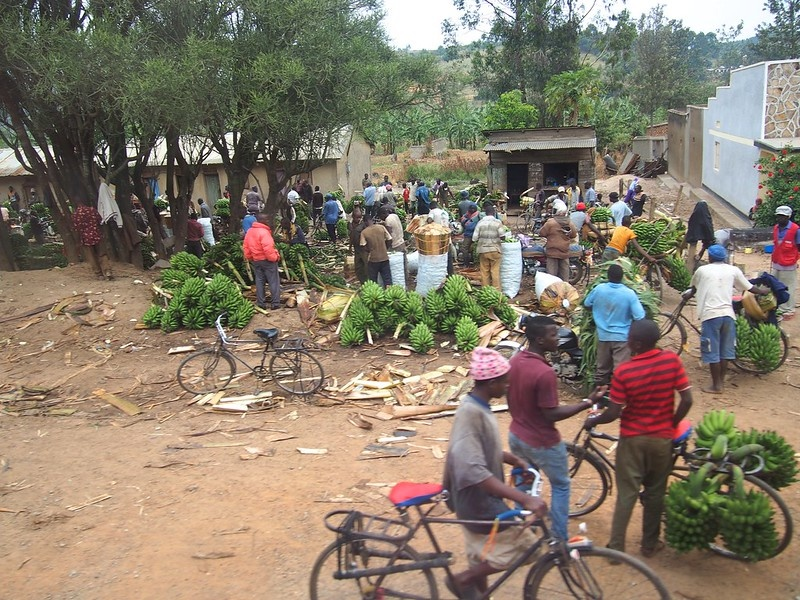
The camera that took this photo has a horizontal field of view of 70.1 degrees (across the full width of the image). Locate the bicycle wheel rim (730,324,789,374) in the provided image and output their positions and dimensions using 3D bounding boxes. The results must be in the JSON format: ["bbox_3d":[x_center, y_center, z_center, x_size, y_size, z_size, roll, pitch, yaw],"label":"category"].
[{"bbox_3d":[5.532,0.782,8.745,0.969,0.550,0.633,0,-21,-11],"label":"bicycle wheel rim"}]

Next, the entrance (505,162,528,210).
[{"bbox_3d":[6.507,-6.309,31.566,2.071,2.742,1.895,1,14,13],"label":"entrance"}]

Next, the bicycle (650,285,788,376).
[{"bbox_3d":[4.857,0.451,8.348,1.943,1.018,0.855,17,26,20],"label":"bicycle"}]

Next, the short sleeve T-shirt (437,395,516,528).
[{"bbox_3d":[0.563,1.259,4.404,0.520,1.052,0.361,-3,14,2],"label":"short sleeve T-shirt"}]

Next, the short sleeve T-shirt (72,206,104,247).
[{"bbox_3d":[-7.541,-1.752,13.050,0.704,0.873,0.238,-15,23,-29],"label":"short sleeve T-shirt"}]

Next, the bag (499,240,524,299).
[{"bbox_3d":[2.278,-0.682,11.890,0.779,1.117,1.151,4,13,16],"label":"bag"}]

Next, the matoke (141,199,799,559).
[{"bbox_3d":[0.502,1.202,9.252,7.962,1.801,4.433,6,25,18],"label":"matoke"}]

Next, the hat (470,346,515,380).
[{"bbox_3d":[0.673,0.485,4.503,0.298,0.168,0.275,0,6,4],"label":"hat"}]

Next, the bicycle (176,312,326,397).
[{"bbox_3d":[-2.500,0.930,9.754,3.088,1.374,1.195,4,14,6],"label":"bicycle"}]

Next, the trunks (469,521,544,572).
[{"bbox_3d":[0.805,1.872,4.513,0.547,0.292,0.353,-8,21,-17],"label":"trunks"}]

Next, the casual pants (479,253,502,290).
[{"bbox_3d":[1.853,-0.689,11.889,0.454,0.856,0.293,1,-23,8],"label":"casual pants"}]

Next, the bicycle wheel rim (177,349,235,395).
[{"bbox_3d":[-3.398,1.193,9.402,0.924,0.860,0.161,14,27,-20],"label":"bicycle wheel rim"}]

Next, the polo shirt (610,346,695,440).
[{"bbox_3d":[2.276,0.771,5.079,0.400,0.677,0.656,-4,-8,-24],"label":"polo shirt"}]

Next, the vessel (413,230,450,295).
[{"bbox_3d":[0.576,-0.860,11.382,0.796,1.349,0.752,-17,24,-31],"label":"vessel"}]

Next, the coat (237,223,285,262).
[{"bbox_3d":[-3.049,-1.200,11.658,1.010,0.809,0.523,13,27,29],"label":"coat"}]
